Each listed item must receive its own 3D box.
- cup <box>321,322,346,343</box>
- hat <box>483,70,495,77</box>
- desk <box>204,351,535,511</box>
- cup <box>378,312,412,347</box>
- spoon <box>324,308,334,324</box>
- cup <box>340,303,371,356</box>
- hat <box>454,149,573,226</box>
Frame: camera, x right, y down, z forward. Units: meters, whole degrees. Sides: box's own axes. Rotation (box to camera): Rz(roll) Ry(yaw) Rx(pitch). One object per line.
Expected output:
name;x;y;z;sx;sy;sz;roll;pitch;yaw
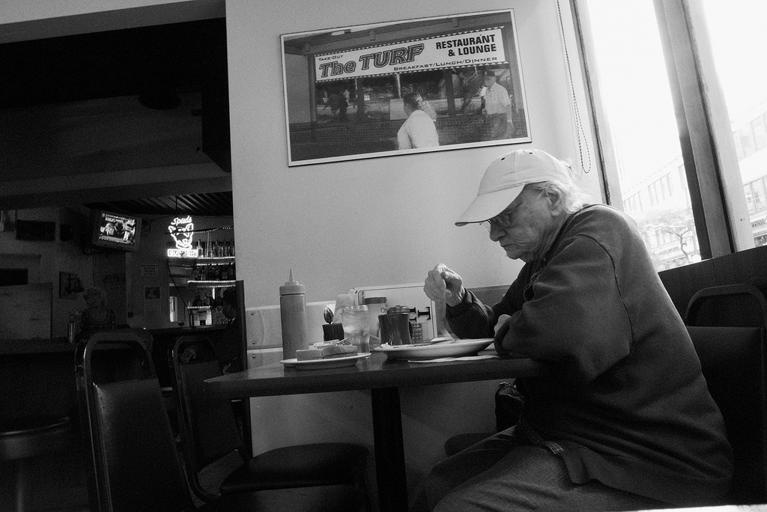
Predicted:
cup;-0.266;0.399;3.286;0.110;0.112;0.097;-3;-5;42
hat;0.655;-1.135;3.846;0.049;0.041;0.037;2;-35;-2
desk;-0.040;0.635;2.609;0.938;0.708;0.955;-5;-3;13
cup;0.051;0.348;2.893;0.160;0.132;0.125;-4;-2;-36
spoon;-0.300;0.327;3.416;0.070;0.092;0.029;-5;-3;25
cup;-0.128;0.351;2.969;0.138;0.223;0.114;-4;-2;-17
hat;0.590;-0.329;2.905;0.495;0.248;0.315;-16;0;-9
